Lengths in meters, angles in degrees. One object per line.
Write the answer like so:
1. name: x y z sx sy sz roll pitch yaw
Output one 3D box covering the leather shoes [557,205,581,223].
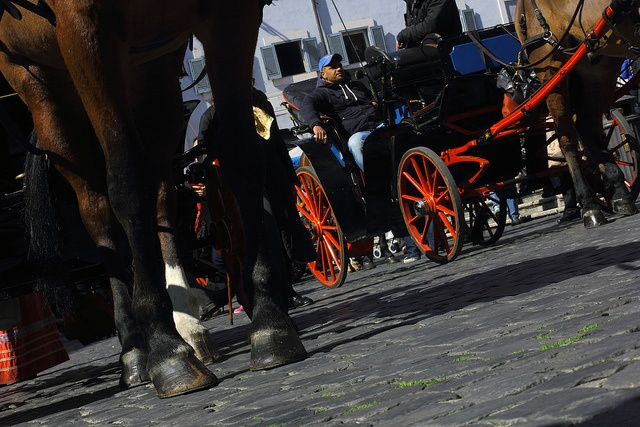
1. leather shoes: 3.053 0.014 9.456 0.393 0.161 0.129 -12 2 -39
